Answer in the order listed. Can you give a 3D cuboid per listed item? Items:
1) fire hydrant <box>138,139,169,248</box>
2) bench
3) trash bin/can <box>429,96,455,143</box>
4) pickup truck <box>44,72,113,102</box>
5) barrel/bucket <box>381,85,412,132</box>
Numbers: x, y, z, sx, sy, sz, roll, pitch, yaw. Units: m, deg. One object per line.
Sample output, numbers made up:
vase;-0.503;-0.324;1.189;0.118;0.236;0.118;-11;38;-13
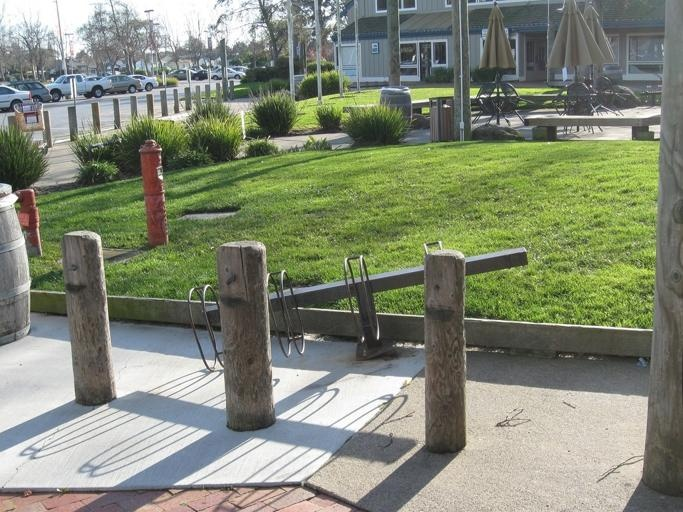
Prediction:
fire hydrant;-2.438;-0.825;9.242;0.282;1.355;0.576;-6;11;-16
bench;5.357;-2.752;14.968;2.390;0.574;2.039;5;17;37
trash bin/can;2.356;-3.170;16.516;0.528;0.959;0.947;-2;12;9
pickup truck;-17.601;-11.424;47.711;3.356;1.757;7.093;-7;14;-8
barrel/bucket;1.587;-4.229;20.199;0.870;1.125;2.509;-3;14;4
